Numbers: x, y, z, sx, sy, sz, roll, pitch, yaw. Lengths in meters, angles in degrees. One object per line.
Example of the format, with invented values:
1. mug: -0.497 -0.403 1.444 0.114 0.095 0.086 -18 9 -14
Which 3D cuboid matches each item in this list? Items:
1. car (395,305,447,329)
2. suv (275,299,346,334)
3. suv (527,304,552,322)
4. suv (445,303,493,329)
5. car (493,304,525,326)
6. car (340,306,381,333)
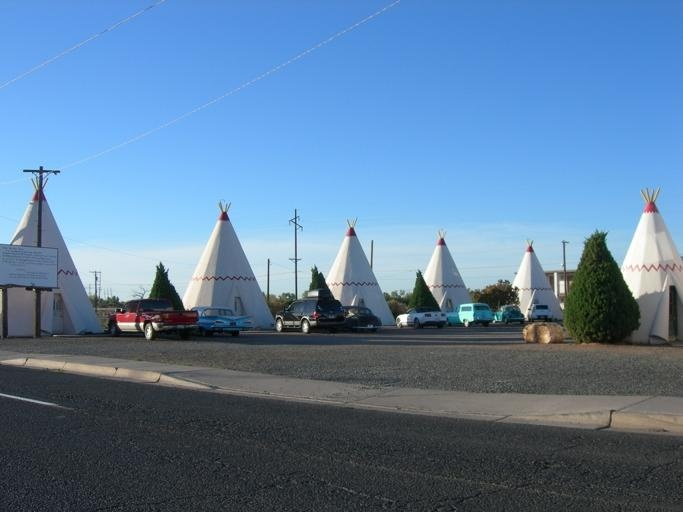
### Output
1. car: 4.442 3.618 38.487 1.249 0.865 2.715 1 -1 -32
2. suv: -1.432 2.724 30.530 1.655 1.227 2.981 3 -2 -37
3. suv: 13.269 3.786 43.827 1.465 1.241 2.480 0 1 5
4. suv: 8.057 3.682 41.081 1.517 1.232 2.641 2 -2 -28
5. car: 11.887 4.330 47.670 1.320 0.994 2.075 1 -6 -18
6. car: 0.796 3.058 31.351 1.954 1.251 1.753 0 -1 -17
